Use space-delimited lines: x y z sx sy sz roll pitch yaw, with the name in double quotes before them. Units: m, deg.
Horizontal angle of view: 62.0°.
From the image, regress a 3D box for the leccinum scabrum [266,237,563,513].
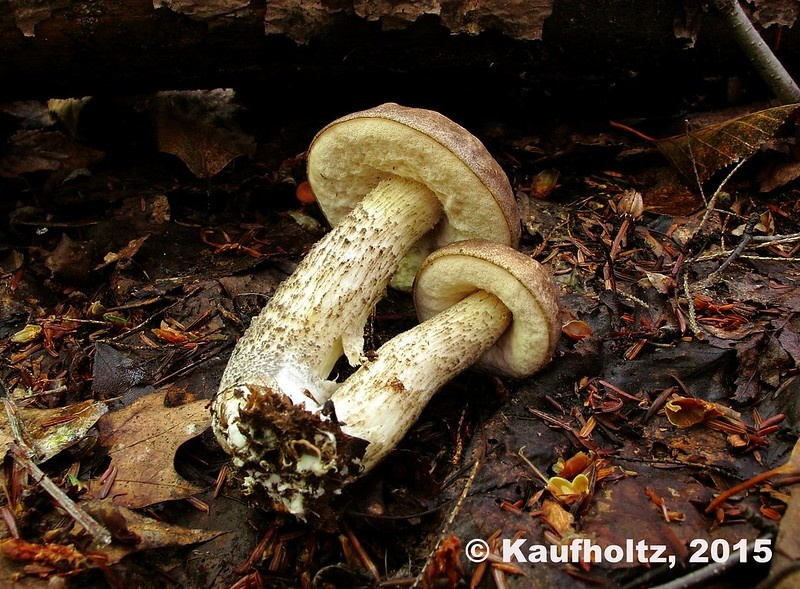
"leccinum scabrum" 0.143 0.470 4.716 2.185 0.879 1.005 -40 63 -8
